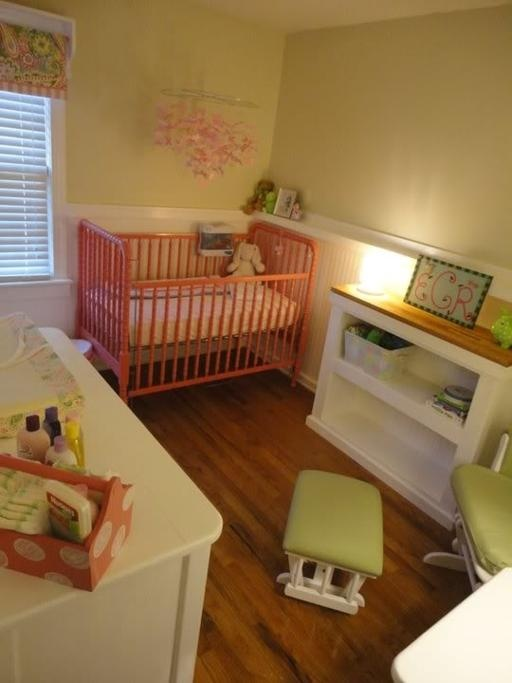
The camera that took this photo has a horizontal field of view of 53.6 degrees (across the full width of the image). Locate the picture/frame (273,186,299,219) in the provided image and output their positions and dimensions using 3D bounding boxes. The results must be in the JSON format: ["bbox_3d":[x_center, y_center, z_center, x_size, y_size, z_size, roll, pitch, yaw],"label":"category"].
[{"bbox_3d":[0.211,-0.961,3.507,0.032,0.232,0.192,-24,43,-36],"label":"picture/frame"}]

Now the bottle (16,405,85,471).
[{"bbox_3d":[-0.412,0.195,1.009,0.111,0.156,0.056,11,18,9],"label":"bottle"}]

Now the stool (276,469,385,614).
[{"bbox_3d":[0.272,0.780,1.873,0.364,0.400,0.431,15,22,9],"label":"stool"}]

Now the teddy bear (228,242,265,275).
[{"bbox_3d":[-0.070,-0.608,3.682,0.223,0.220,0.095,5,12,-18],"label":"teddy bear"}]

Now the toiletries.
[{"bbox_3d":[-0.406,0.195,0.998,0.114,0.160,0.057,7,10,7],"label":"toiletries"}]

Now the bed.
[{"bbox_3d":[-0.384,-0.263,3.288,1.379,0.870,0.898,-9,26,-38],"label":"bed"}]

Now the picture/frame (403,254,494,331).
[{"bbox_3d":[0.942,-0.233,2.441,0.011,0.229,0.337,3,26,-36],"label":"picture/frame"}]

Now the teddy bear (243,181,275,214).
[{"bbox_3d":[0.018,-1.053,3.699,0.205,0.255,0.123,16,22,13],"label":"teddy bear"}]

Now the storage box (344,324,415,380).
[{"bbox_3d":[0.648,0.051,2.766,0.324,0.167,0.251,26,28,37],"label":"storage box"}]
